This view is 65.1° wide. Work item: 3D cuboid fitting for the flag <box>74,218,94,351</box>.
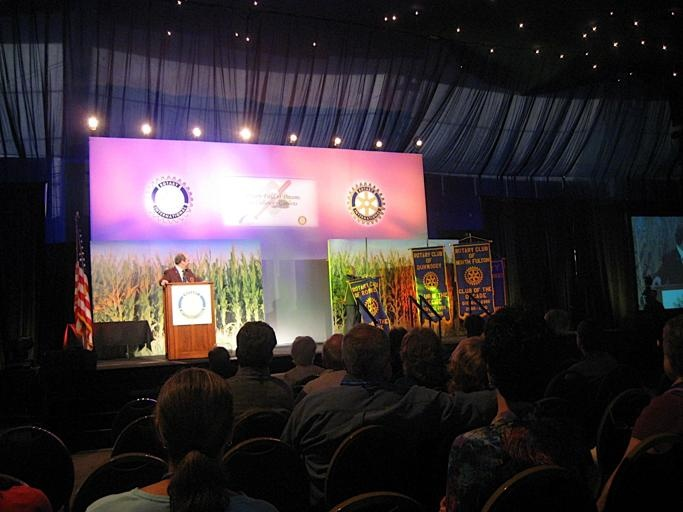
[{"bbox_3d":[-3.973,0.281,8.223,0.248,2.240,1.945,-1,-6,-25],"label":"flag"}]
